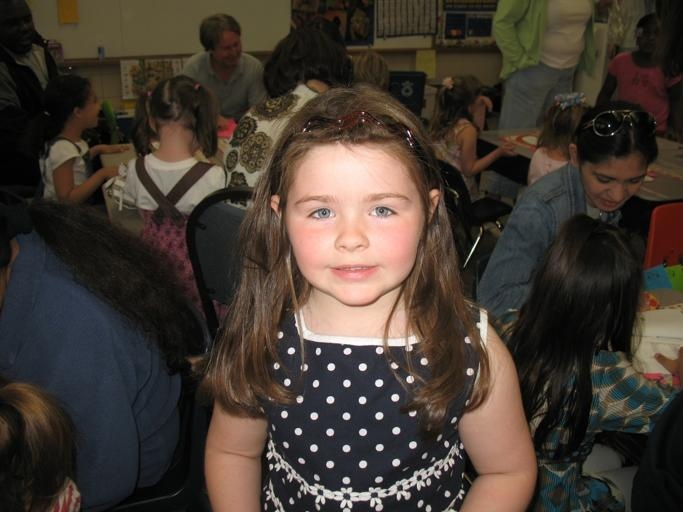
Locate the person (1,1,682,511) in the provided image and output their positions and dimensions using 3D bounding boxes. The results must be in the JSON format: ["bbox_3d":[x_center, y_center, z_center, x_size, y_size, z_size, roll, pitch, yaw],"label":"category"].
[{"bbox_3d":[0.049,0.070,1.217,1.271,0.915,0.315,0,-9,10],"label":"person"}]
